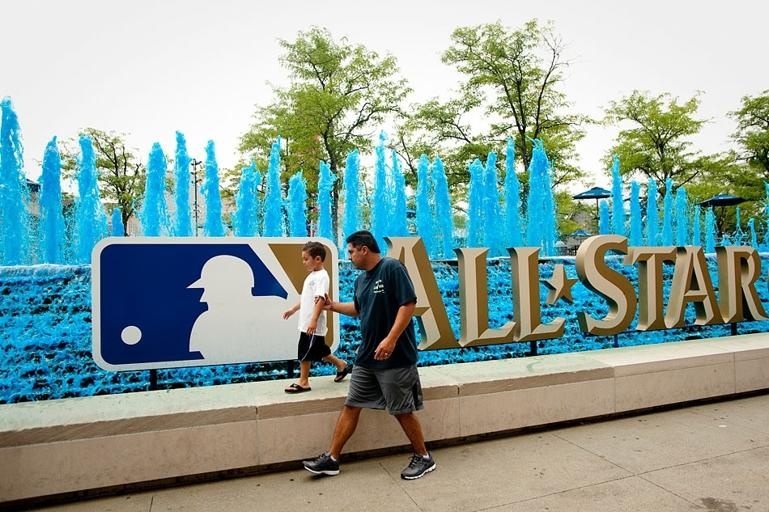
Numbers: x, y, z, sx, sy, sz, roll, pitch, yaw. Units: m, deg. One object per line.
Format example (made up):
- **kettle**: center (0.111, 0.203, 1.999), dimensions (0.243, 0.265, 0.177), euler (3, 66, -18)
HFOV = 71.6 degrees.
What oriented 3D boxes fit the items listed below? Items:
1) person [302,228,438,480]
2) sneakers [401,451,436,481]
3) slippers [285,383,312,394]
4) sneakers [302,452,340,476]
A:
- **person**: center (-0.235, 1.120, 6.148), dimensions (1.562, 2.668, 1.024), euler (-4, -13, 16)
- **sneakers**: center (0.381, 2.362, 5.985), dimensions (0.474, 0.216, 0.181), euler (-3, -6, -42)
- **slippers**: center (-1.074, 1.620, 6.531), dimensions (0.227, 0.067, 0.124), euler (8, -13, -33)
- **sneakers**: center (-0.685, 2.370, 6.086), dimensions (0.492, 0.247, 0.191), euler (15, -6, -11)
